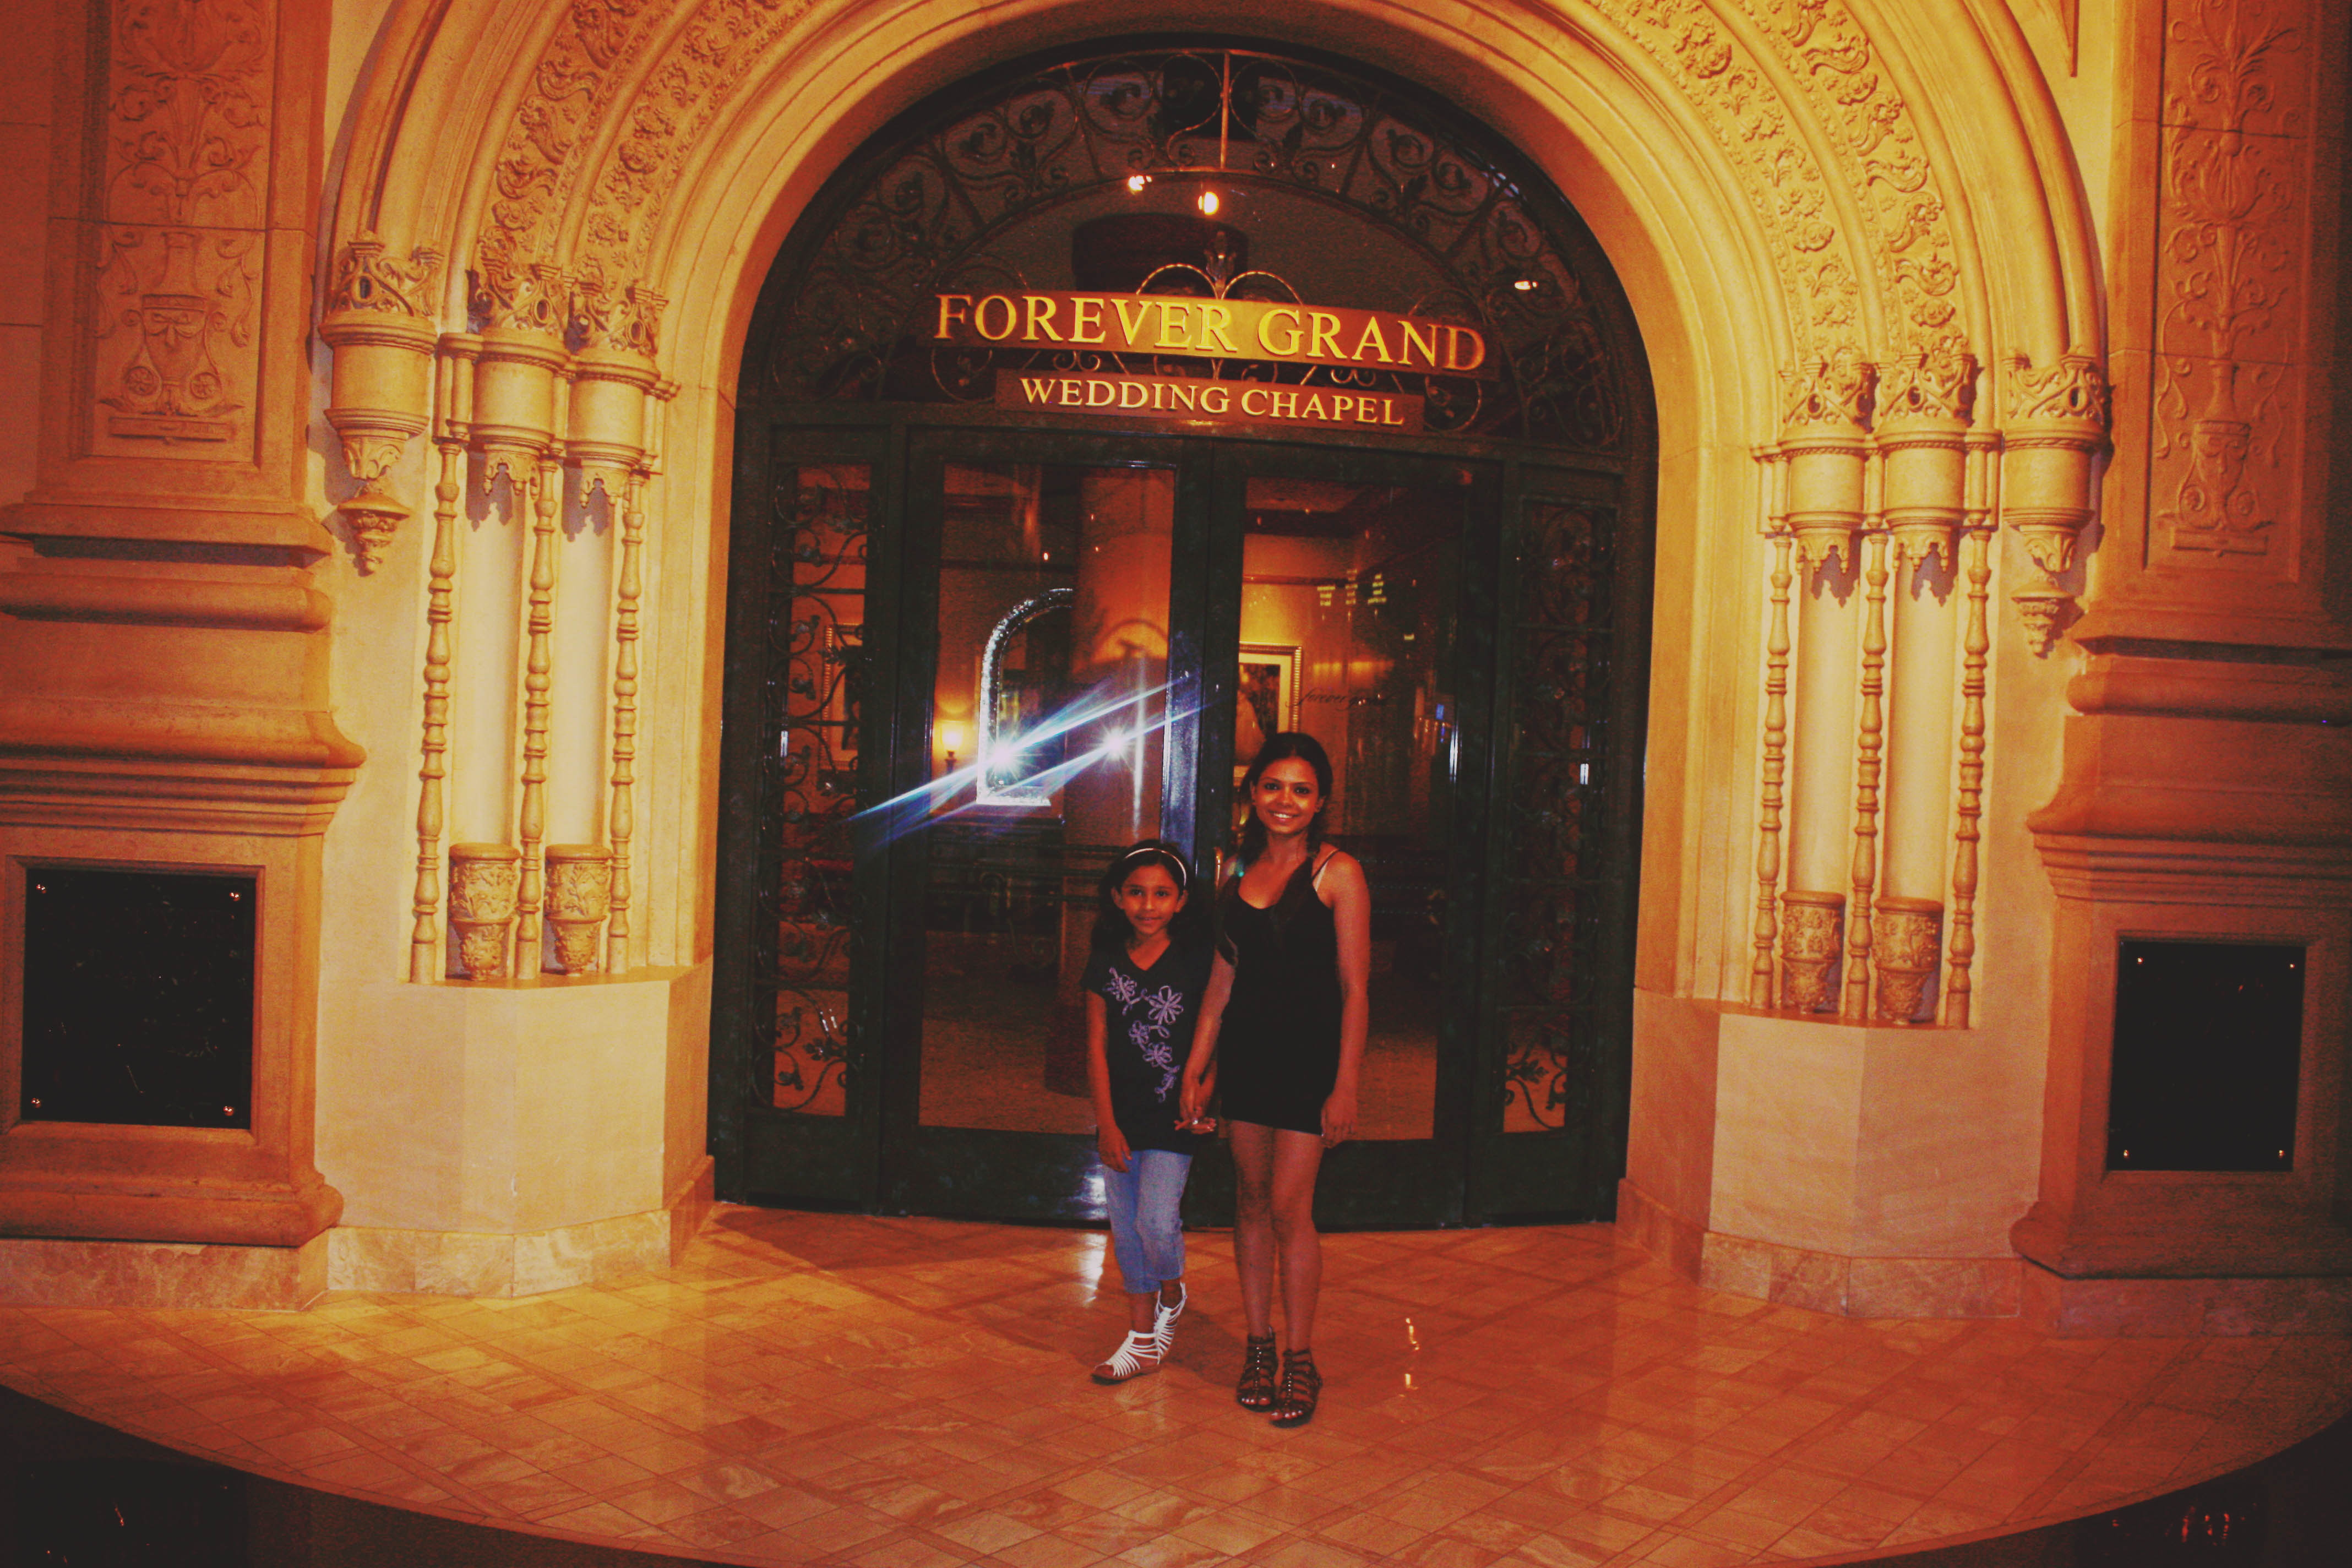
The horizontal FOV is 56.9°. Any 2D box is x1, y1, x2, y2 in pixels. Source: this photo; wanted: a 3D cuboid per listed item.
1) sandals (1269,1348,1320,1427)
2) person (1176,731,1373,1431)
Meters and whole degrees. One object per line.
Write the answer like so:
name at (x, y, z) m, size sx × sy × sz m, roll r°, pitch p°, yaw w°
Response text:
sandals at (0.392, 1.945, 7.088) m, size 0.151 × 0.205 × 0.246 m, roll 3°, pitch 11°, yaw 4°
person at (0.361, 0.938, 7.139) m, size 0.496 × 2.157 × 0.614 m, roll -9°, pitch 15°, yaw -44°
